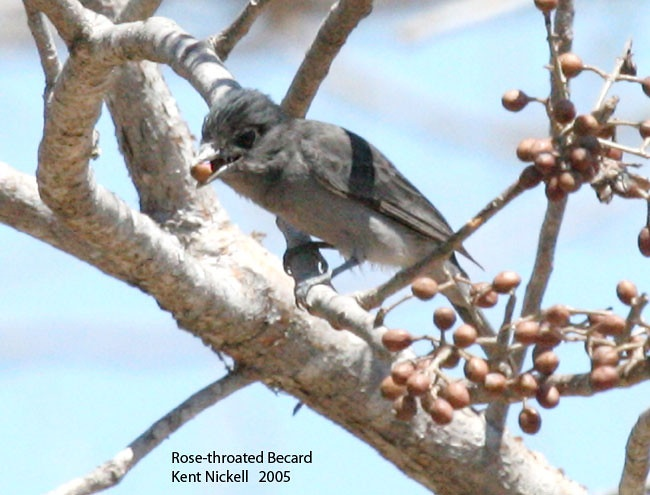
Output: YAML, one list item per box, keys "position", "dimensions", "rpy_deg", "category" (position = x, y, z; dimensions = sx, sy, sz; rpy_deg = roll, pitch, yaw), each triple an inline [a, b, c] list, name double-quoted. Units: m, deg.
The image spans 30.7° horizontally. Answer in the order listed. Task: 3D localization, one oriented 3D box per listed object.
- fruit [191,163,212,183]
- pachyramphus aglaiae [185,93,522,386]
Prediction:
- position: [-0.729, -0.433, 7.021]
  dimensions: [0.099, 0.089, 0.117]
  rpy_deg: [-5, 11, -10]
  category: "fruit"
- position: [0.168, -0.050, 8.077]
  dimensions: [2.678, 1.283, 0.860]
  rpy_deg: [21, -37, -29]
  category: "pachyramphus aglaiae"
